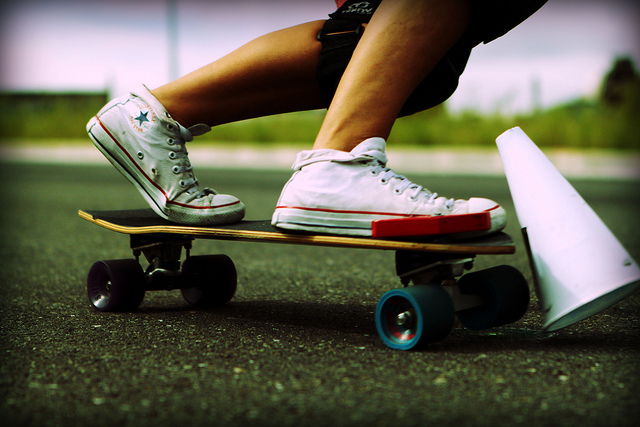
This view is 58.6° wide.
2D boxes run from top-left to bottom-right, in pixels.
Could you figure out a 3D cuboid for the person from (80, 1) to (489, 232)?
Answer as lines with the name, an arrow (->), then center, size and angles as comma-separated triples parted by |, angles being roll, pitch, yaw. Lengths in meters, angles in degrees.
person -> -0.075, -0.449, 2.407 | 1.723, 0.961, 0.849 | 15, 30, 16
